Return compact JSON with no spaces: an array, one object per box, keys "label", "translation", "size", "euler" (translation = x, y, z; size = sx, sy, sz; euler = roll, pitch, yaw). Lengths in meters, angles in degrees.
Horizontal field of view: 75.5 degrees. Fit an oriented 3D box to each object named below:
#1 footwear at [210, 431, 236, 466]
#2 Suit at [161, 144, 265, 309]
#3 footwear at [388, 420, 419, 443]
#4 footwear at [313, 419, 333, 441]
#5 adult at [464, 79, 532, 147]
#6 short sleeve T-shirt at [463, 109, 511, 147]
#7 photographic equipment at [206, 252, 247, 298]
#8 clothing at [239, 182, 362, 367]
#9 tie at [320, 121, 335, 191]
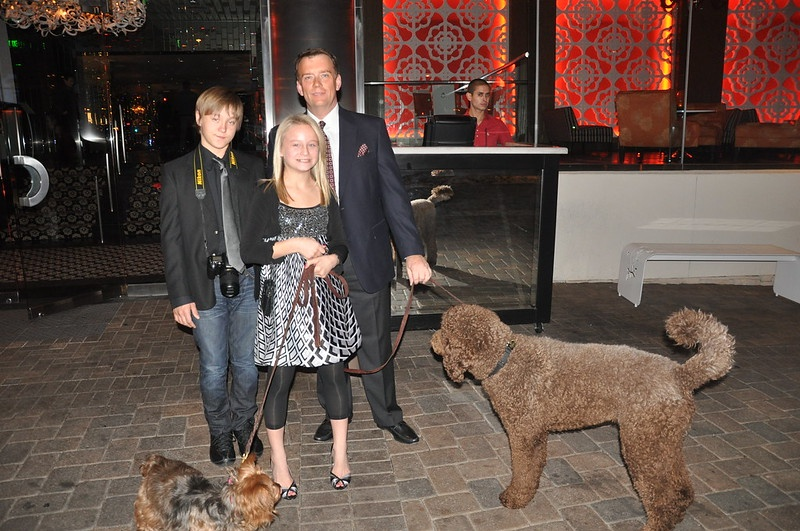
[{"label":"footwear","translation":[-1.465,1.511,4.273],"size":[0.142,0.133,0.332],"euler":[-1,6,-18]},{"label":"Suit","translation":[-1.549,-0.296,4.331],"size":[0.933,1.233,0.401],"euler":[-1,2,-2]},{"label":"footwear","translation":[0.042,1.453,4.545],"size":[0.305,0.114,0.134],"euler":[20,31,13]},{"label":"footwear","translation":[-0.649,1.439,4.618],"size":[0.128,0.138,0.321],"euler":[4,7,10]},{"label":"adult","translation":[1.270,-1.924,6.601],"size":[0.859,0.714,0.255],"euler":[-16,13,-2]},{"label":"short sleeve T-shirt","translation":[1.102,-1.708,6.517],"size":[0.608,0.543,0.195],"euler":[2,20,0]},{"label":"photographic equipment","translation":[-1.345,0.069,3.964],"size":[0.284,0.306,0.186],"euler":[-2,-19,-8]},{"label":"clothing","translation":[-0.721,0.079,3.722],"size":[0.757,1.289,0.547],"euler":[-8,17,-18]},{"label":"tie","translation":[-0.563,-0.821,3.971],"size":[0.070,0.622,0.068],"euler":[-8,1,1]}]
